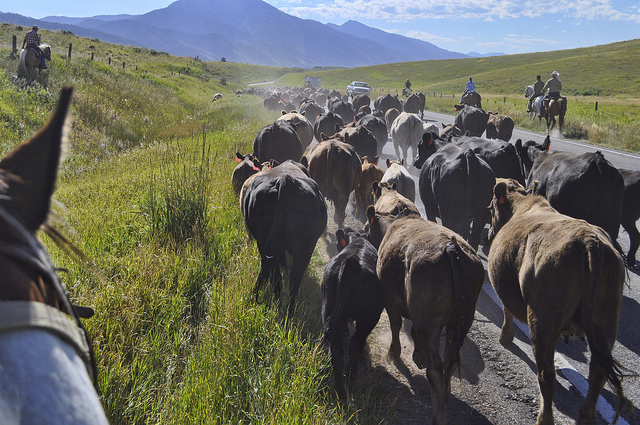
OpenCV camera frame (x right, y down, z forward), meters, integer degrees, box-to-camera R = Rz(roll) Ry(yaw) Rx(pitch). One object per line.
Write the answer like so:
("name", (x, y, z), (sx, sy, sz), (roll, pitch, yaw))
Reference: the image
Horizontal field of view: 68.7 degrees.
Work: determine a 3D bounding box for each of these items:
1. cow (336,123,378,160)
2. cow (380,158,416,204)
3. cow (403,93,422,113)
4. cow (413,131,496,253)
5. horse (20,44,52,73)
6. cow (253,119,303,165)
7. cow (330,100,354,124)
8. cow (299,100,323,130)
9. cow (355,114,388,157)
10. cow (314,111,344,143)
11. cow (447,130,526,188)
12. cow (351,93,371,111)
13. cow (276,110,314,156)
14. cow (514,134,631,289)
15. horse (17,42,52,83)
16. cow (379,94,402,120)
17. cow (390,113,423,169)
("cow", (1.043, -2.544, 15.501), (0.753, 1.302, 2.233), (-8, 25, -11))
("cow", (1.812, -0.821, 10.967), (0.475, 0.792, 1.447), (-2, 29, -1))
("cow", (6.215, -7.223, 31.122), (0.801, 1.267, 1.592), (10, 20, 27))
("cow", (2.564, -0.819, 9.814), (0.988, 1.734, 3.103), (-12, 23, 0))
("horse", (-11.823, -6.335, 19.315), (0.594, 1.048, 1.860), (-1, 19, -8))
("cow", (-1.168, -2.214, 13.712), (0.792, 1.279, 2.206), (2, 25, 0))
("cow", (1.368, -5.861, 27.208), (1.034, 1.515, 2.247), (-6, 18, -6))
("cow", (-0.547, -5.967, 27.214), (0.852, 1.472, 2.771), (-2, 31, -4))
("cow", (1.943, -3.077, 17.481), (0.795, 1.298, 2.420), (-4, 31, -4))
("cow", (0.395, -3.746, 20.542), (0.927, 1.534, 2.026), (-1, 12, 0))
("cow", (3.546, -1.254, 10.777), (0.742, 1.313, 2.419), (-12, 26, -15))
("cow", (3.095, -8.373, 34.856), (0.813, 1.562, 2.707), (-2, 26, -4))
("cow", (-0.907, -3.292, 18.346), (0.834, 1.350, 2.462), (-1, 23, -4))
("cow", (4.694, -0.154, 8.872), (1.085, 2.104, 3.827), (-11, 11, 4))
("horse", (-11.873, -6.291, 19.494), (0.481, 1.453, 2.126), (8, 17, -4))
("cow", (4.373, -6.619, 29.247), (1.045, 1.971, 3.384), (-2, 18, 3))
("cow", (3.370, -3.057, 18.970), (1.059, 2.112, 3.448), (-1, 10, 0))
